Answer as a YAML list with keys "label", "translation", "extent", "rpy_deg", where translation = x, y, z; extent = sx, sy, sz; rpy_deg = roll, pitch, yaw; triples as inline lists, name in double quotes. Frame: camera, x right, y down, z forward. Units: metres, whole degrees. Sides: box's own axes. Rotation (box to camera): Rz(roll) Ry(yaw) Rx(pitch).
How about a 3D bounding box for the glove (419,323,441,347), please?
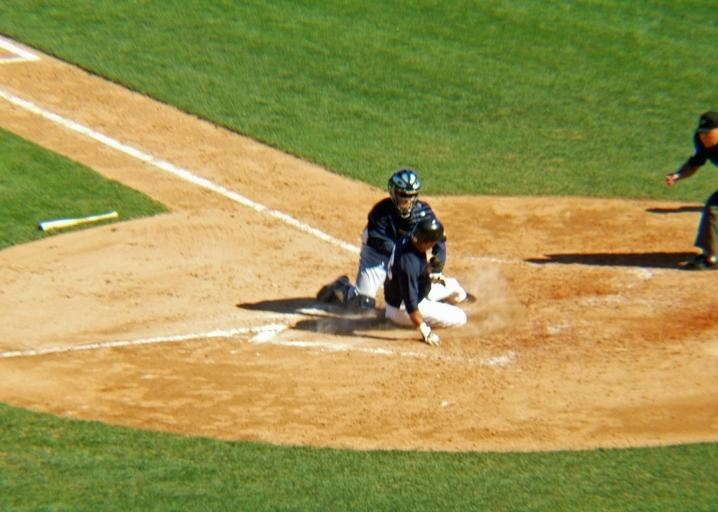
- label: "glove"
  translation: [1.386, 1.468, 28.818]
  extent: [0.484, 0.322, 0.162]
  rpy_deg: [40, 51, 2]
